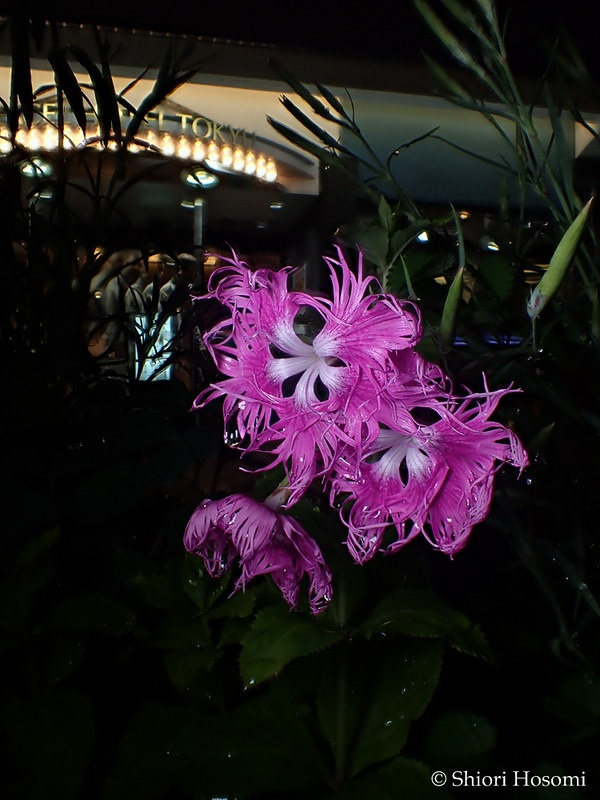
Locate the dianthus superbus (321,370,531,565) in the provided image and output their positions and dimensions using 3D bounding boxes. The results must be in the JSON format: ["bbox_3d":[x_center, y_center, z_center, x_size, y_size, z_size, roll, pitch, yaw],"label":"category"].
[{"bbox_3d":[0.081,0.036,0.524,0.150,0.037,0.134,11,41,10],"label":"dianthus superbus"}]
